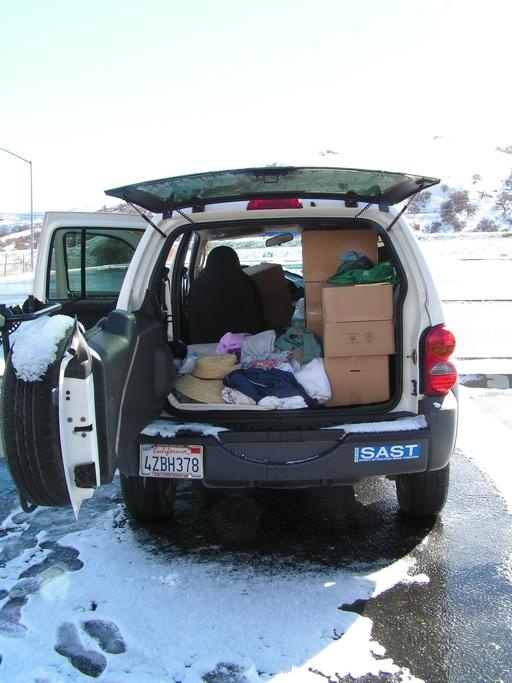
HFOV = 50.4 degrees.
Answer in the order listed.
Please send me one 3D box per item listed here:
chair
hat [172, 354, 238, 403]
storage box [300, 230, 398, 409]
[{"bbox_3d":[-0.232,-0.315,3.943,0.576,0.743,0.701,0,12,2],"label":"chair"},{"bbox_3d":[-0.267,0.194,2.918,0.255,0.065,0.240,-4,20,-7],"label":"hat"},{"bbox_3d":[0.475,-0.087,2.772,0.371,0.955,0.901,0,-6,2],"label":"storage box"}]
